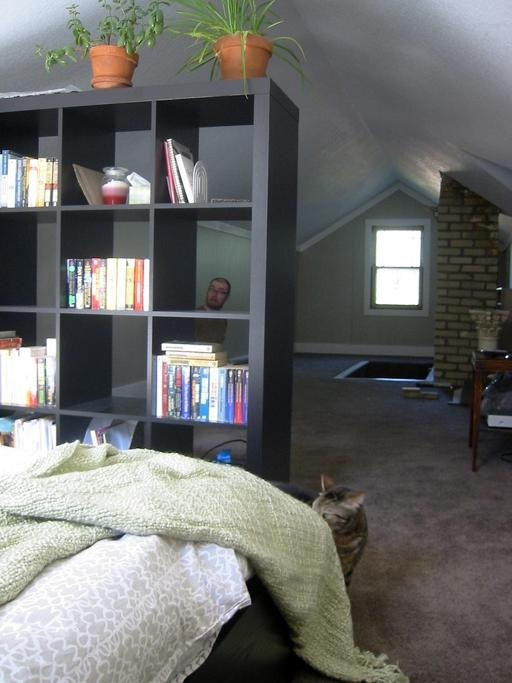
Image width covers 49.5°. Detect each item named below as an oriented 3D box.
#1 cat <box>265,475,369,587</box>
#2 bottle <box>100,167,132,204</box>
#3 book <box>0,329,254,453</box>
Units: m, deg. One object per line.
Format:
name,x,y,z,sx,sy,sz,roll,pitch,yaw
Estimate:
cat,0.257,0.543,1.630,0.172,0.310,0.565,4,-13,19
bottle,-0.634,-0.672,2.499,0.148,0.200,0.160,-1,-5,0
book,-0.638,0.242,2.575,1.321,0.543,0.266,1,2,16
